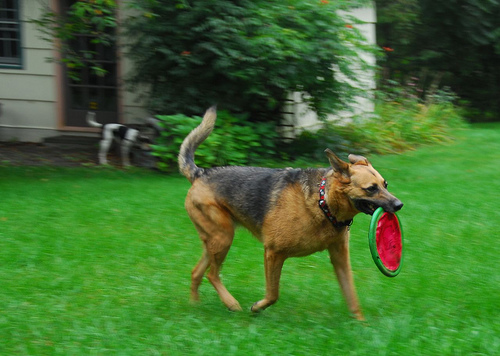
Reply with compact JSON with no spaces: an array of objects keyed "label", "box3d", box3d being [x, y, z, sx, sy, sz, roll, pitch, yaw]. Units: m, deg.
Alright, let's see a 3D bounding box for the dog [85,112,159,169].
[{"label":"dog","box3d":[-2.676,-0.834,11.873,1.861,0.924,0.517,7,15,15]}]
